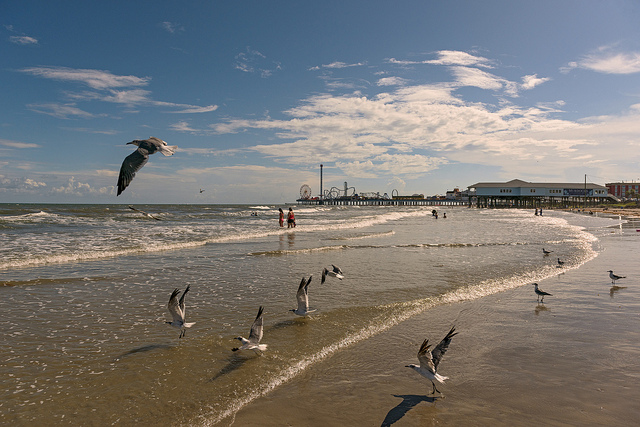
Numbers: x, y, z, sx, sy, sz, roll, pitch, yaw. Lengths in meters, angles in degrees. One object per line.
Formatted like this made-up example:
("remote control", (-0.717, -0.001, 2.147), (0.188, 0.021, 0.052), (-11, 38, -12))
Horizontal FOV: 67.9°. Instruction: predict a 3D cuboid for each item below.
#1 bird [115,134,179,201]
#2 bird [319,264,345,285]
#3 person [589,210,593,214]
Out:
("bird", (-5.107, -1.430, 13.825), (1.575, 1.441, 0.756), (-5, 13, -25))
("bird", (0.471, 2.450, 18.805), (0.648, 0.798, 1.607), (-8, -3, 27))
("person", (50.506, -0.211, 89.212), (0.533, 0.968, 0.364), (-4, 16, -36))
